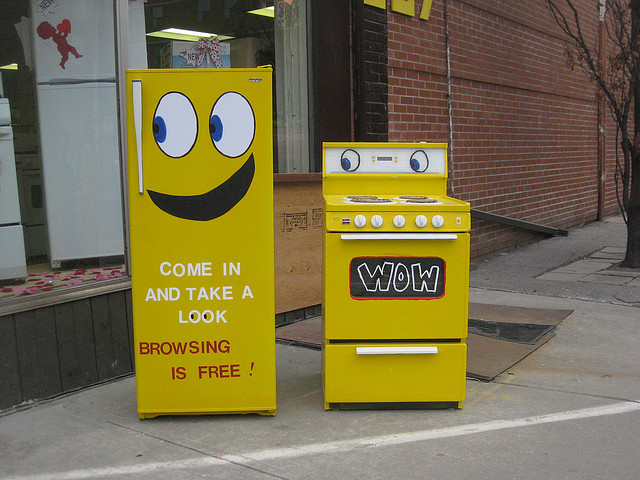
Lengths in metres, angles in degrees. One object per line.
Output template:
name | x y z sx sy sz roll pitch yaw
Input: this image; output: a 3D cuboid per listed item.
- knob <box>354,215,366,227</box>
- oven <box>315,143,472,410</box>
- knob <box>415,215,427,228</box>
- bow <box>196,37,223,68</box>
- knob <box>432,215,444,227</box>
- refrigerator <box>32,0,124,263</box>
knob | 0.313 -0.145 5.157 0.090 0.091 0.030 -4 15 -12
oven | 0.585 0.279 5.533 1.288 2.064 0.986 -1 15 -1
knob | 0.786 -0.142 5.146 0.094 0.095 0.047 0 15 3
bow | -1.186 -2.004 7.034 0.081 0.301 0.354 8 17 30
knob | 0.918 -0.145 5.150 0.083 0.090 0.041 2 15 9
refrigerator | -2.190 -0.991 6.039 0.757 2.311 0.548 -6 15 -18
